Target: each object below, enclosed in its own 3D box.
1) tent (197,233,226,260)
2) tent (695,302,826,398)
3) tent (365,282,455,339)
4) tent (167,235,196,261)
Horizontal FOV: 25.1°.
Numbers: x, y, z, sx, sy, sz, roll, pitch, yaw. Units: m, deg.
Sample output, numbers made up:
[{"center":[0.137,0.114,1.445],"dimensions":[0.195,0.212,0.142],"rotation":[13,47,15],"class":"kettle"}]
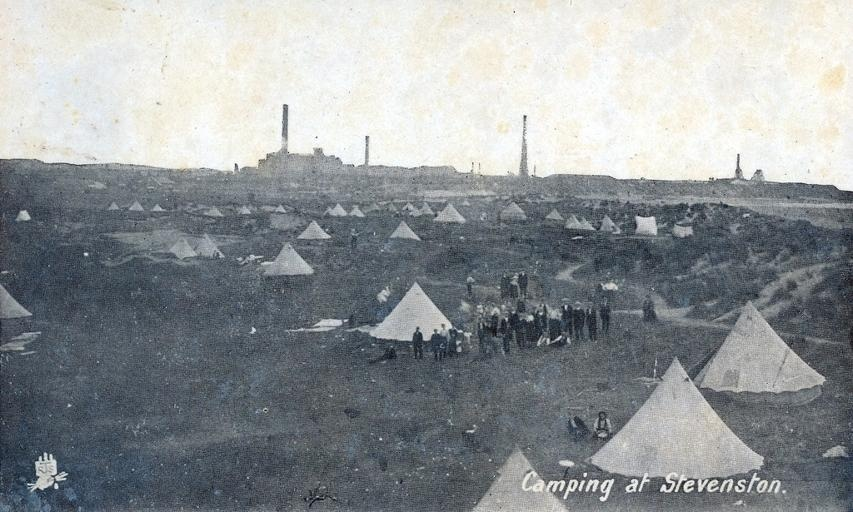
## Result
[{"center":[-4.721,-0.215,41.943],"dimensions":[0.472,0.492,0.516],"rotation":[0,-2,-25],"class":"tent"},{"center":[7.508,1.956,42.074],"dimensions":[2.963,2.192,1.999],"rotation":[0,-2,15],"class":"tent"},{"center":[-0.347,1.188,42.260],"dimensions":[2.071,1.230,1.247],"rotation":[-3,-4,39],"class":"tent"},{"center":[-5.400,-0.186,42.173],"dimensions":[0.503,0.327,0.506],"rotation":[1,5,-5],"class":"tent"}]
